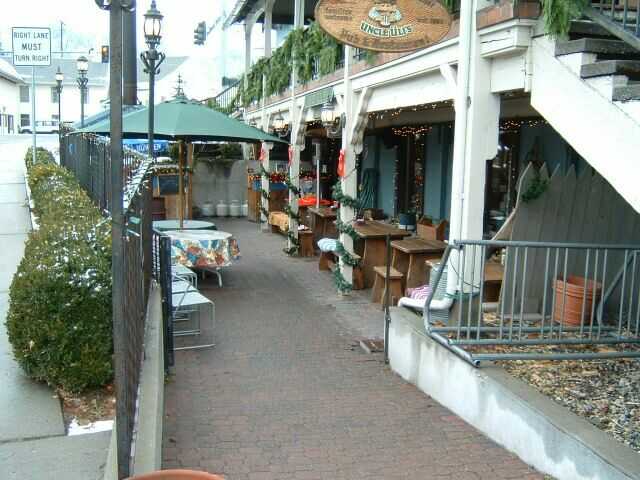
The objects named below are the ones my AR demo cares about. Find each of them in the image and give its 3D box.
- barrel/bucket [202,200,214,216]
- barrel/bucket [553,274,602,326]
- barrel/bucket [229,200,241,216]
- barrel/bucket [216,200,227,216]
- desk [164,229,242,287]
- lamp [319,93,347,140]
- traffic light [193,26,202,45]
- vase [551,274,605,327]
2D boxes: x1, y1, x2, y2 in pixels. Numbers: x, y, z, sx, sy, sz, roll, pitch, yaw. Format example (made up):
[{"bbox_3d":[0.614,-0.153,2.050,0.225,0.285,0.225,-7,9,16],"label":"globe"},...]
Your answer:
[{"bbox_3d":[-3.774,-0.990,21.985,0.374,0.583,0.392,3,4,0],"label":"barrel/bucket"},{"bbox_3d":[2.857,0.716,7.371,0.481,0.478,0.544,4,10,-8],"label":"barrel/bucket"},{"bbox_3d":[-2.867,-1.030,22.095,0.436,0.675,0.456,1,2,0],"label":"barrel/bucket"},{"bbox_3d":[-3.324,-1.015,22.180,0.408,0.629,0.421,3,3,0],"label":"barrel/bucket"},{"bbox_3d":[-2.343,0.290,11.435,1.449,0.896,1.523,-2,12,-27],"label":"desk"},{"bbox_3d":[0.232,-2.220,11.629,0.440,0.932,0.407,-6,5,-23],"label":"lamp"},{"bbox_3d":[-4.190,-7.069,22.754,0.318,0.579,0.582,0,9,-11],"label":"traffic light"},{"bbox_3d":[2.834,0.667,7.244,0.606,0.586,0.661,4,5,40],"label":"vase"}]
